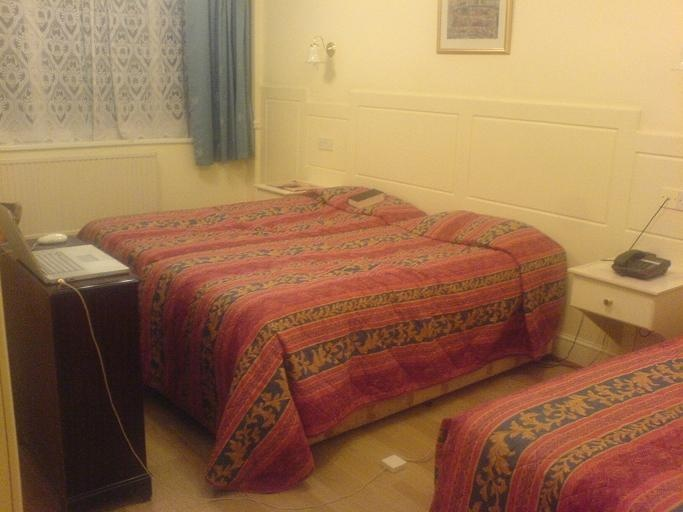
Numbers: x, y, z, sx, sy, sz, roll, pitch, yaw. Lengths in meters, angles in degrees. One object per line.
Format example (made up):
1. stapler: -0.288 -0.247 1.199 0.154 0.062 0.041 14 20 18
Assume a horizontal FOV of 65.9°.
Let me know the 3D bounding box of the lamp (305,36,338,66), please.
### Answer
1. lamp: -0.237 -1.913 4.882 0.254 0.231 0.394 -17 31 -30

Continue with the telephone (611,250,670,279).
1. telephone: 1.654 0.051 2.929 0.209 0.073 0.206 -18 27 -31

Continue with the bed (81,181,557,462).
1. bed: 0.086 0.210 2.932 1.763 0.658 1.828 -12 21 -35
